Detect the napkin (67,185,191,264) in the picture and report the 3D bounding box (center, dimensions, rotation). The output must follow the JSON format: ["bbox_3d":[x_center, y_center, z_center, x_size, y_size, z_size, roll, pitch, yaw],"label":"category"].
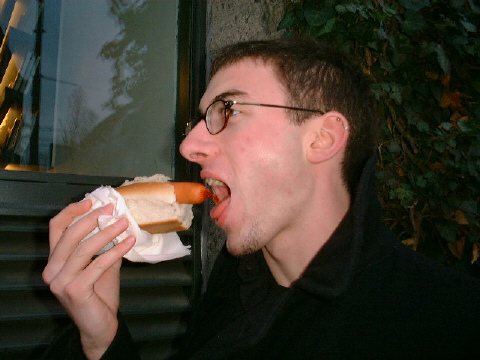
[{"bbox_3d":[-0.851,0.411,3.417,0.758,0.575,0.275,28,-34,-11],"label":"napkin"}]

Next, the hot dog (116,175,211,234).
[{"bbox_3d":[-0.589,0.112,3.397,0.600,0.436,0.501,-1,8,-36],"label":"hot dog"}]
